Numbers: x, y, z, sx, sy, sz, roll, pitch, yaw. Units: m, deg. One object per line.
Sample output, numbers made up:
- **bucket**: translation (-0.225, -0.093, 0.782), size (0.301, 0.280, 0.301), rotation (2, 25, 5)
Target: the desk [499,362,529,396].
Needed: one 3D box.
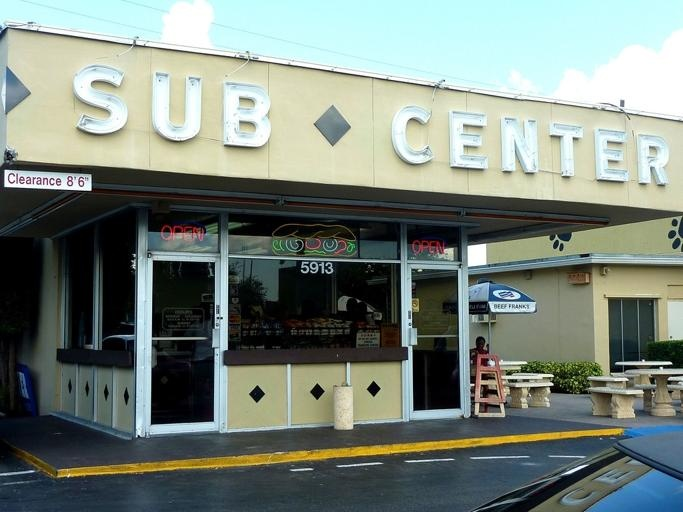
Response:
- **desk**: translation (5.294, 3.703, 22.693), size (0.920, 0.927, 0.942), rotation (-1, -2, -2)

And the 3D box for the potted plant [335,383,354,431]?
- **potted plant**: translation (0.053, 2.894, 14.242), size (0.330, 0.823, 0.252), rotation (1, -6, -8)

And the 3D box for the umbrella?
- **umbrella**: translation (3.922, 1.391, 18.512), size (1.839, 1.373, 1.975), rotation (0, -2, -9)
